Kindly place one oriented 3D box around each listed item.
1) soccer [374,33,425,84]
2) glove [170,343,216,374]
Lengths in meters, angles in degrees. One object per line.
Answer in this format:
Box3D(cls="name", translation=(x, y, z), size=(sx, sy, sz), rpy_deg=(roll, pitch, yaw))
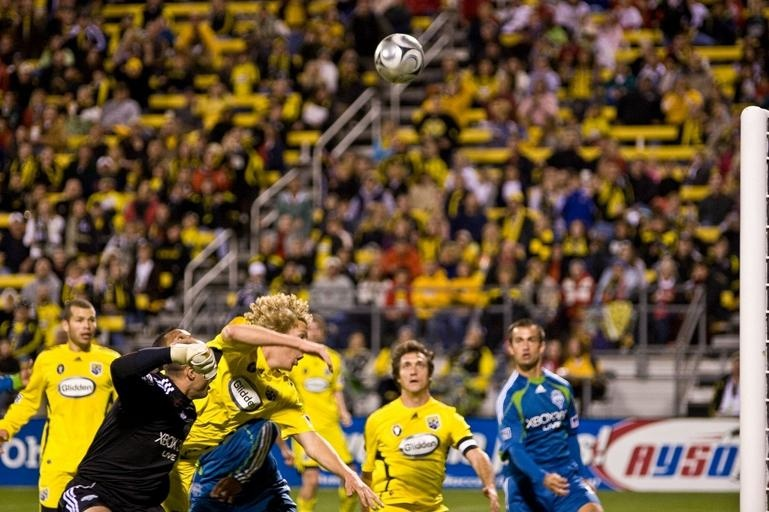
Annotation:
Box3D(cls="soccer", translation=(0.219, -3.442, 27.843), size=(0.784, 0.926, 0.848), rpy_deg=(2, 25, 2))
Box3D(cls="glove", translation=(-2.795, 1.489, 23.488), size=(0.601, 0.672, 0.504), rpy_deg=(-1, 28, -2))
